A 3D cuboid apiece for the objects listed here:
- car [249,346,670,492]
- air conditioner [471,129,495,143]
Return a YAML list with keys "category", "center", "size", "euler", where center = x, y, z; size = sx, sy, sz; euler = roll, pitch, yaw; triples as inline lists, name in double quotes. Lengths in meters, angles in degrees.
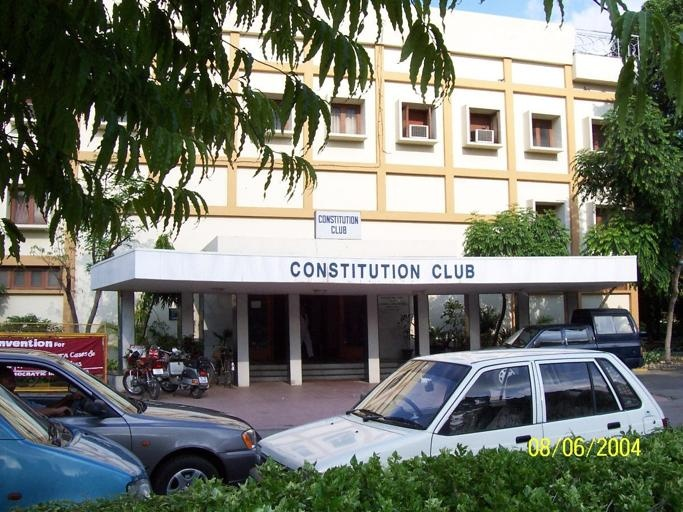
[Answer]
- category: "car"
  center: [1.392, 1.468, 6.597]
  size: [4.034, 1.000, 1.439]
  euler: [0, -8, -12]
- category: "air conditioner"
  center: [6.152, -5.197, 27.925]
  size: [0.968, 0.802, 0.582]
  euler: [1, 4, -8]
